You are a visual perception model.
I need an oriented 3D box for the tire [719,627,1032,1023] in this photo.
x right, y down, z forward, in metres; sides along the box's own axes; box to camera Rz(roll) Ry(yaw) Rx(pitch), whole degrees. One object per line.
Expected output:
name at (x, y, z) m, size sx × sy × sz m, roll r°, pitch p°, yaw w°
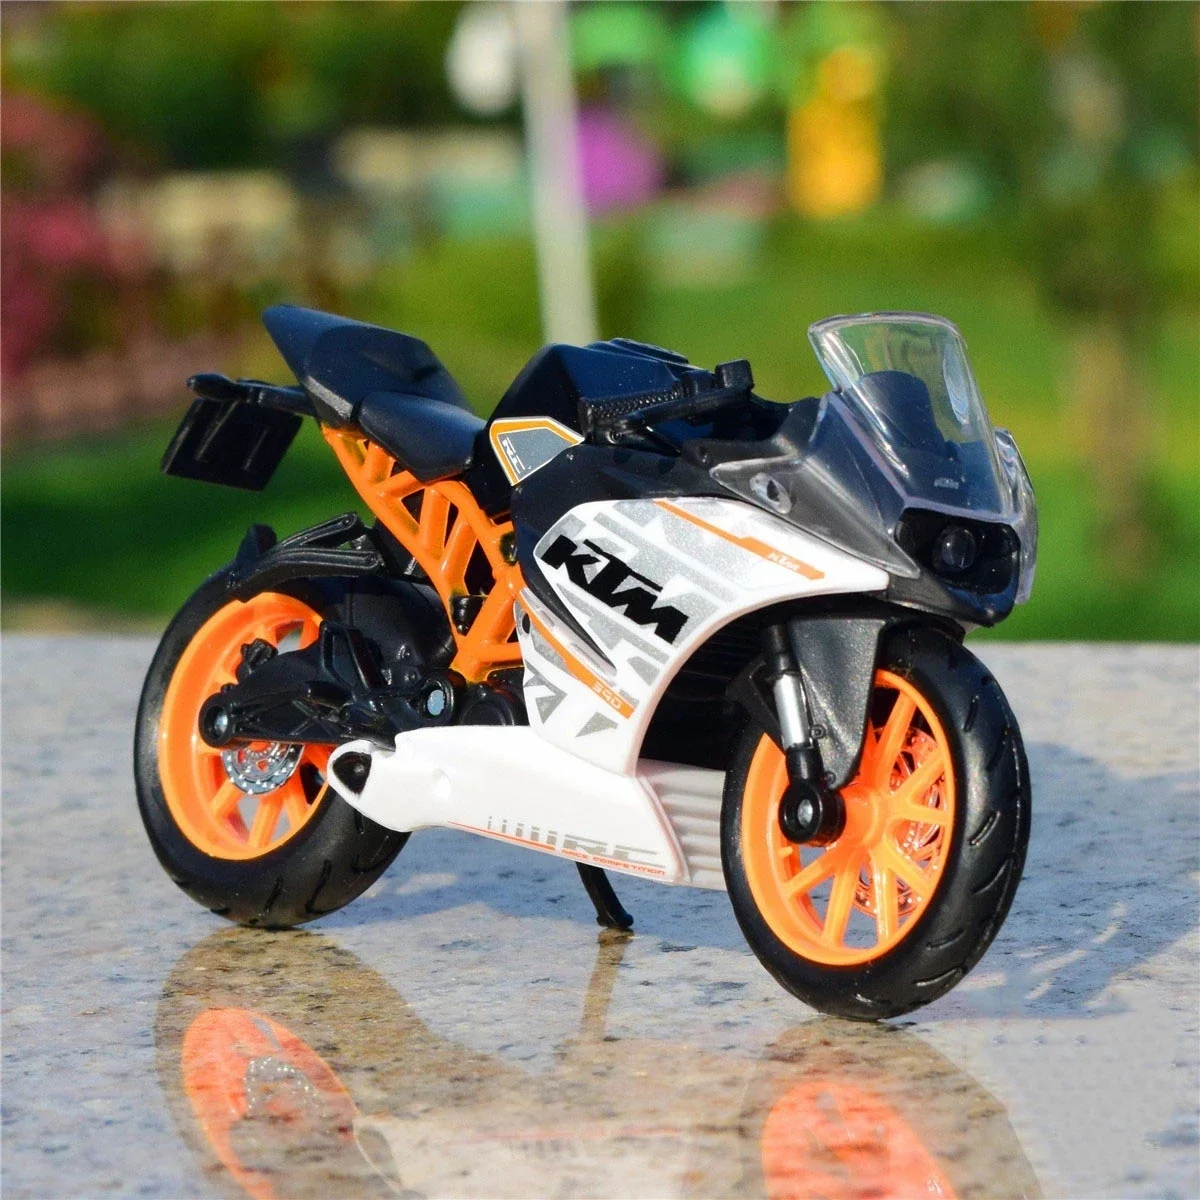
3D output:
tire at (0.445, 0.377, 2.472) m, size 0.225 × 0.768 × 0.536 m, roll 3°, pitch 76°, yaw -37°
